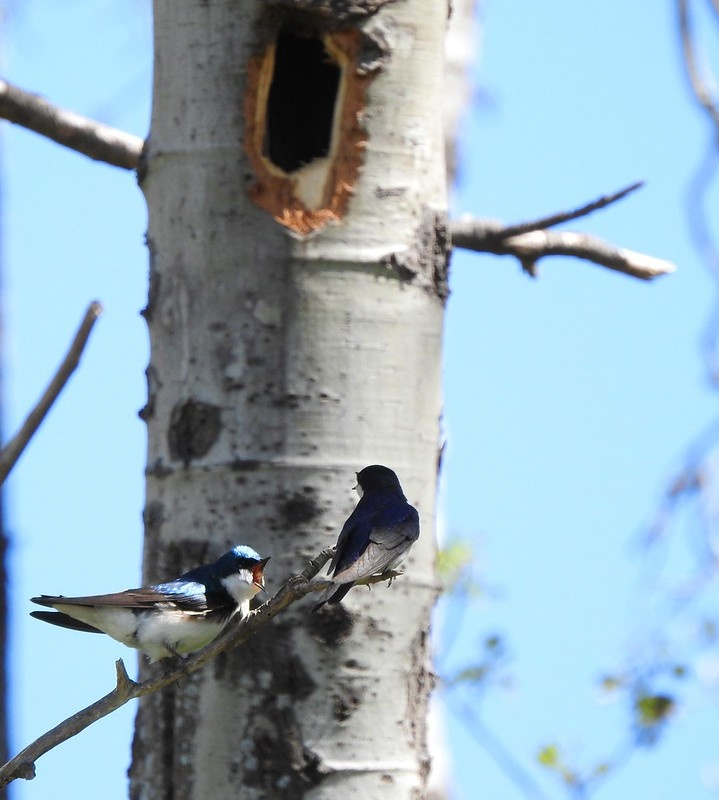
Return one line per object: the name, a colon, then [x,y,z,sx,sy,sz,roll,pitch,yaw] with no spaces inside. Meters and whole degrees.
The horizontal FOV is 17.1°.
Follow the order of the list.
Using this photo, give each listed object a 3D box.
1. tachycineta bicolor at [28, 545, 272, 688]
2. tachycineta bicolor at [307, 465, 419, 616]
tachycineta bicolor: [-0.663,0.636,7.437,0.691,0.249,0.481,11,52,-14]
tachycineta bicolor: [0.000,0.409,7.211,0.243,0.607,0.413,-9,93,24]
